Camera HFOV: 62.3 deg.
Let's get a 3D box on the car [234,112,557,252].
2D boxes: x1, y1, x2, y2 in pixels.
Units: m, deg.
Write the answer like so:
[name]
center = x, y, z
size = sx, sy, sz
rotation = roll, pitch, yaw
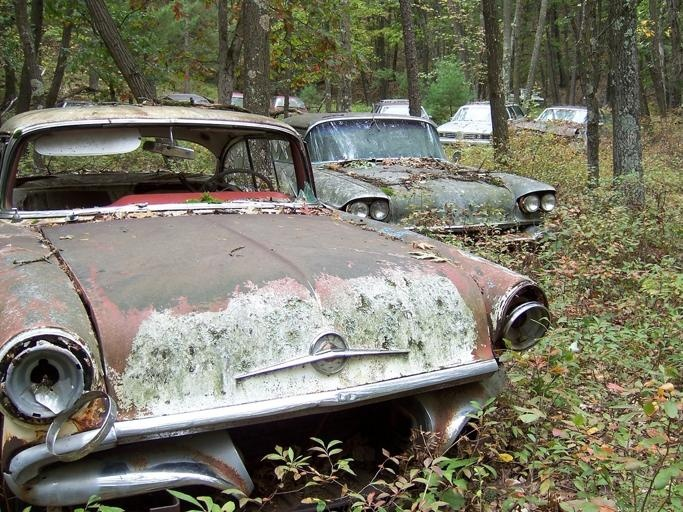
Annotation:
[car]
center = 0.649, -1.020, 7.655
size = 2.024, 1.175, 3.068
rotation = -9, 19, -25
